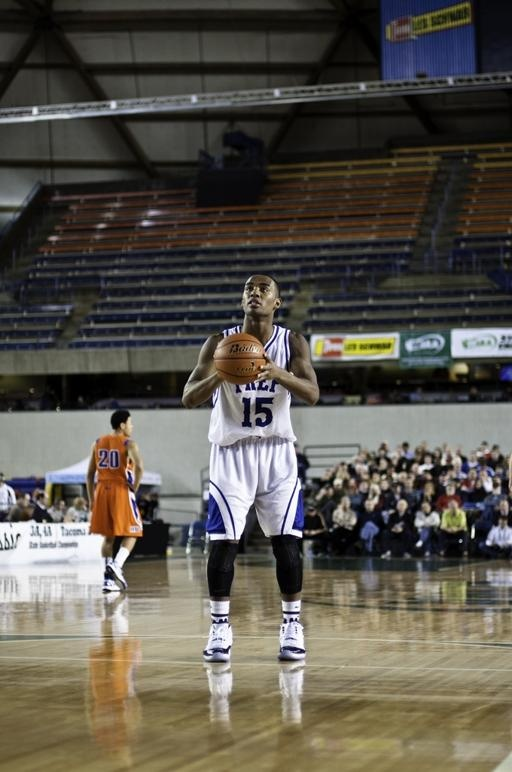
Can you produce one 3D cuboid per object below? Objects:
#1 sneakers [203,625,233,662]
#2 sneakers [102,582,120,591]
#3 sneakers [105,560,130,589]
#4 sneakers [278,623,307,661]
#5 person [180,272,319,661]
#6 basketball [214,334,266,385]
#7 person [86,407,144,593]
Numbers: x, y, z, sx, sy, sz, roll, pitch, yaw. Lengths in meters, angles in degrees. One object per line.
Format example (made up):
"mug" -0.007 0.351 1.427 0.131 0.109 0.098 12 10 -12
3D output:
"sneakers" -0.161 1.061 4.943 0.116 0.149 0.237 -2 -8 -3
"sneakers" -1.001 1.395 8.302 0.095 0.084 0.209 -3 -8 3
"sneakers" -0.988 1.365 8.388 0.081 0.262 0.108 -7 19 44
"sneakers" 0.147 1.054 4.947 0.105 0.153 0.274 -3 -8 1
"person" -0.013 0.333 5.100 0.571 1.638 0.455 -2 -8 -5
"basketball" -0.072 -0.113 4.988 0.230 0.228 0.131 -8 -10 36
"person" -1.047 0.845 8.875 0.384 1.342 1.186 -1 -8 -7
